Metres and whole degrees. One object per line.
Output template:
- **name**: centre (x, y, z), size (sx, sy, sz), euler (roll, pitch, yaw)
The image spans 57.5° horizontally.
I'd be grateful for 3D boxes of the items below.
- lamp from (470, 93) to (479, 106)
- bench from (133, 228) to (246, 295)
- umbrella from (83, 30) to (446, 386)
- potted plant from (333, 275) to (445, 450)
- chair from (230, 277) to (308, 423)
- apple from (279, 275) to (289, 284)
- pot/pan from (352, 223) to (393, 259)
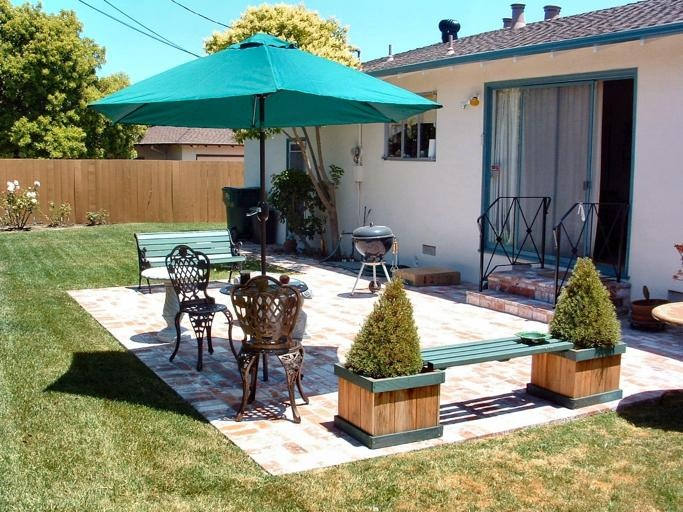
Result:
- **lamp**: centre (2.346, -2.783, 11.144), size (0.175, 0.241, 0.176), euler (-1, 6, -21)
- **bench**: centre (-2.623, 0.066, 11.144), size (1.702, 0.884, 0.675), euler (-4, 11, -38)
- **umbrella**: centre (-0.810, -0.489, 6.918), size (2.960, 2.925, 3.217), euler (-3, 9, -22)
- **potted plant**: centre (0.412, 0.876, 5.454), size (0.828, 1.326, 0.931), euler (5, -17, -3)
- **chair**: centre (-0.678, 0.831, 5.940), size (0.765, 1.361, 0.770), euler (3, 8, 27)
- **apple**: centre (-0.542, 0.220, 5.859), size (0.075, 0.079, 0.080), euler (0, 11, -8)
- **pot/pan**: centre (0.546, -0.247, 10.708), size (0.751, 0.705, 0.780), euler (-4, 7, 3)
